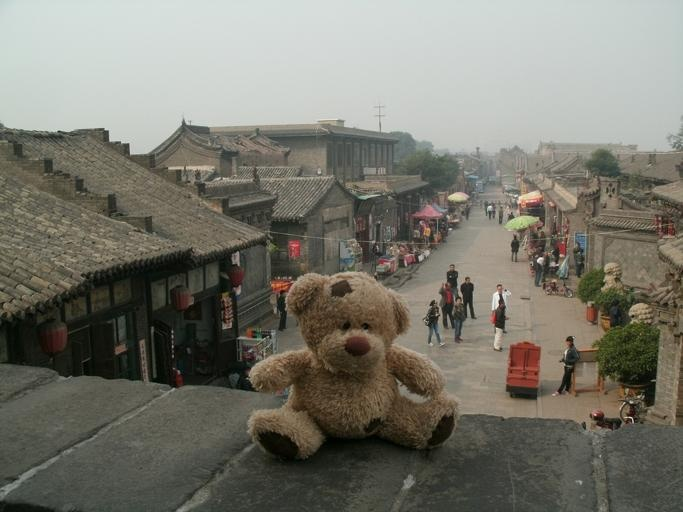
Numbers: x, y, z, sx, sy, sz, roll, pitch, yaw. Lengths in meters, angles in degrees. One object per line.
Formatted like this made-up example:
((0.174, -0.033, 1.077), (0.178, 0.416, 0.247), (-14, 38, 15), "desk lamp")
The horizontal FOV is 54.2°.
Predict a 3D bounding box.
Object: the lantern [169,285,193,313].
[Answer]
((-2.748, 0.764, 11.731), (0.392, 0.452, 0.401), (0, 9, 8), "lantern")

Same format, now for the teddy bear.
((0.008, 0.382, 3.381), (1.170, 0.981, 0.748), (0, -12, -7), "teddy bear")

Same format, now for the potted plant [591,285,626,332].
((6.566, 1.433, 16.574), (0.619, 0.838, 0.731), (-5, -21, -13), "potted plant")

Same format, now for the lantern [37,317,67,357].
((-3.485, 0.992, 8.053), (0.388, 0.515, 0.379), (-3, 7, -20), "lantern")

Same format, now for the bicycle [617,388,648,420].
((4.637, 2.372, 10.561), (0.345, 0.417, 0.302), (-27, 26, -32), "bicycle")

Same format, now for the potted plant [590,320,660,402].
((4.853, 1.829, 11.264), (1.023, 1.221, 0.924), (3, 9, 35), "potted plant")
